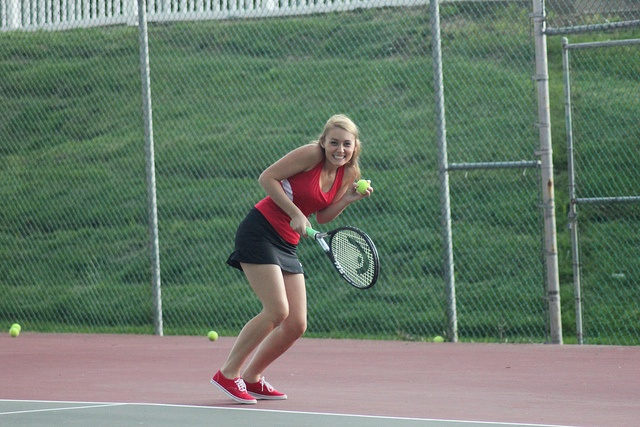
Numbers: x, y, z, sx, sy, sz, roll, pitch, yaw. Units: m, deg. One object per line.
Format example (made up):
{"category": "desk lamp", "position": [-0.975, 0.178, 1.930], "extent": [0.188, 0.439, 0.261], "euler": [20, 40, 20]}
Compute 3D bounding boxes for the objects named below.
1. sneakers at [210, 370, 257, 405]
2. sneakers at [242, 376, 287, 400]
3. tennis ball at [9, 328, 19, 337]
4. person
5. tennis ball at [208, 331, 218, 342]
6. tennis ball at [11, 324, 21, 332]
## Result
{"category": "sneakers", "position": [-0.845, 1.721, 11.646], "extent": [0.555, 0.220, 0.205], "euler": [36, 0, -2]}
{"category": "sneakers", "position": [-0.580, 1.769, 11.749], "extent": [0.491, 0.201, 0.165], "euler": [21, 4, -9]}
{"category": "tennis ball", "position": [-3.903, 1.519, 14.918], "extent": [0.121, 0.103, 0.104], "euler": [9, 1, -7]}
{"category": "person", "position": [-0.362, 0.447, 11.674], "extent": [1.466, 2.824, 0.451], "euler": [-3, 7, -25]}
{"category": "tennis ball", "position": [-1.349, 1.507, 14.420], "extent": [0.104, 0.102, 0.105], "euler": [-10, -31, -6]}
{"category": "tennis ball", "position": [-3.891, 1.460, 14.959], "extent": [0.111, 0.057, 0.110], "euler": [-6, -7, -1]}
